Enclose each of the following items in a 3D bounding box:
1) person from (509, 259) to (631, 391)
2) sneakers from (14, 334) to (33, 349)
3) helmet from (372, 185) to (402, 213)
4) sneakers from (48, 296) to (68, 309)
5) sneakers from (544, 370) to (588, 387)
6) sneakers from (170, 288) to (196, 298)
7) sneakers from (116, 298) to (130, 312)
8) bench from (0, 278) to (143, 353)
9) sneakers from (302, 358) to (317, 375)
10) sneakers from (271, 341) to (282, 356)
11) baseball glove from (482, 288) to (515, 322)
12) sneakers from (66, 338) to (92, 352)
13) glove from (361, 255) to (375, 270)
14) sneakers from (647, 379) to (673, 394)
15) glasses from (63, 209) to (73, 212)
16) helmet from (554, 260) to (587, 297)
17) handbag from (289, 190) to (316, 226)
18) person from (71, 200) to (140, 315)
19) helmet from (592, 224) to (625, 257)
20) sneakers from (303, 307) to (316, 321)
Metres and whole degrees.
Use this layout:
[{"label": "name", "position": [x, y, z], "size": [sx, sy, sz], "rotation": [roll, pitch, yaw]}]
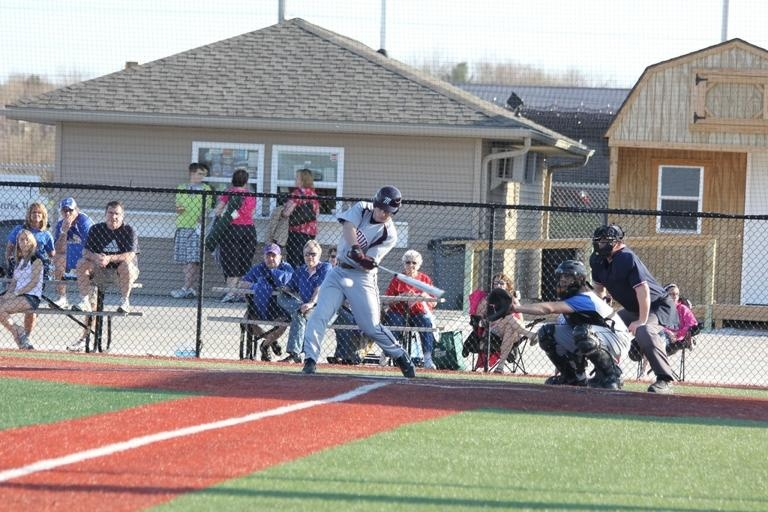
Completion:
[{"label": "person", "position": [2.846, 0.995, 20.773], "size": [1.587, 1.297, 0.904], "rotation": [3, 2, -11]}, {"label": "sneakers", "position": [-5.803, 1.388, 23.064], "size": [0.160, 0.201, 0.116], "rotation": [-33, 0, -15]}, {"label": "helmet", "position": [0.057, -0.865, 20.421], "size": [0.301, 0.219, 0.421], "rotation": [25, 20, -10]}, {"label": "sneakers", "position": [-5.442, 0.783, 23.980], "size": [0.338, 0.143, 0.114], "rotation": [22, -1, -18]}, {"label": "sneakers", "position": [2.676, 1.821, 21.097], "size": [0.646, 0.272, 0.219], "rotation": [6, -4, 12]}, {"label": "sneakers", "position": [-3.930, 0.738, 28.053], "size": [0.415, 0.178, 0.218], "rotation": [4, 1, 10]}, {"label": "sneakers", "position": [-4.212, 0.825, 23.183], "size": [0.114, 0.189, 0.296], "rotation": [2, -12, 8]}, {"label": "bench", "position": [-4.842, 0.934, 23.108], "size": [1.809, 0.885, 0.295], "rotation": [7, 5, -45]}, {"label": "sneakers", "position": [-1.070, 1.599, 20.585], "size": [0.246, 0.282, 0.643], "rotation": [0, -2, -1]}, {"label": "sneakers", "position": [-1.778, 1.534, 23.638], "size": [0.168, 0.233, 0.087], "rotation": [-25, -11, 21]}, {"label": "baseball glove", "position": [1.539, 0.704, 20.033], "size": [0.181, 0.436, 0.416], "rotation": [17, 24, -49]}, {"label": "sneakers", "position": [-4.959, 1.453, 23.327], "size": [0.440, 0.183, 0.159], "rotation": [-1, 3, -30]}, {"label": "glove", "position": [-0.221, 0.100, 20.270], "size": [0.095, 0.196, 0.295], "rotation": [7, -24, 6]}, {"label": "sneakers", "position": [3.967, 1.895, 20.601], "size": [0.333, 0.202, 0.172], "rotation": [4, -4, -8]}, {"label": "glasses", "position": [-5.218, -0.762, 23.698], "size": [0.107, 0.076, 0.173], "rotation": [3, -7, 2]}, {"label": "helmet", "position": [2.703, 0.347, 20.896], "size": [0.577, 0.575, 0.451], "rotation": [-4, 3, -26]}, {"label": "handbag", "position": [-1.412, -0.824, 26.208], "size": [0.469, 0.445, 0.407], "rotation": [16, 1, 4]}, {"label": "person", "position": [-4.468, -0.007, 23.186], "size": [0.852, 1.746, 0.462], "rotation": [3, 2, 13]}, {"label": "helmet", "position": [3.281, -0.248, 21.017], "size": [0.474, 0.471, 0.391], "rotation": [7, 5, 6]}, {"label": "sneakers", "position": [-1.197, 0.915, 22.473], "size": [0.215, 0.239, 0.276], "rotation": [0, -4, -2]}]
